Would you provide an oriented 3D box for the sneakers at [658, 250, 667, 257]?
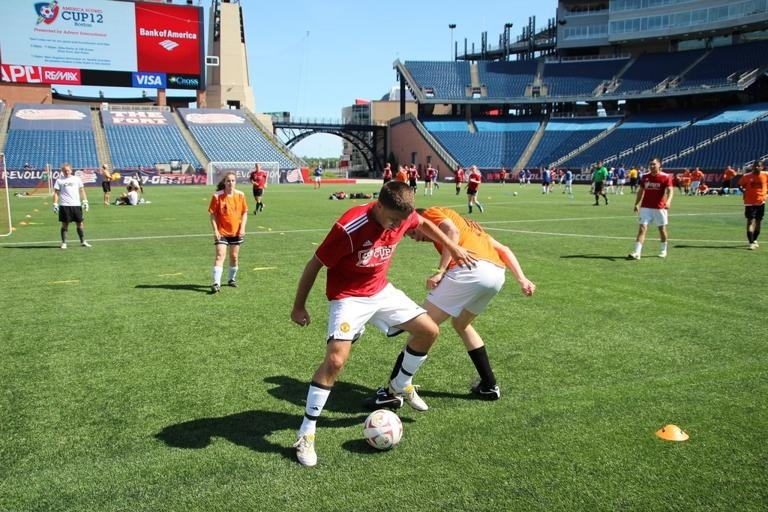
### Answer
[{"bbox_3d":[6.509,-0.051,13.033,0.116,0.146,0.347,-3,-1,30],"label":"sneakers"}]

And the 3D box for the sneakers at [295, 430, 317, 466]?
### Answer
[{"bbox_3d":[-0.769,1.853,5.431,0.218,0.305,0.246,-3,9,-9],"label":"sneakers"}]

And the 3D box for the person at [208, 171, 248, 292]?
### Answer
[{"bbox_3d":[-2.881,-0.465,10.181,0.554,2.092,1.004,1,9,16],"label":"person"}]

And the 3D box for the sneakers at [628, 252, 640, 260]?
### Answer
[{"bbox_3d":[5.728,-0.024,12.808,0.269,0.146,0.200,2,10,22],"label":"sneakers"}]

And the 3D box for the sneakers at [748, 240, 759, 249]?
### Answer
[{"bbox_3d":[9.419,-0.290,14.286,0.216,0.251,0.602,-3,0,37],"label":"sneakers"}]

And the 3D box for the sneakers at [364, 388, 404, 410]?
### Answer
[{"bbox_3d":[0.010,1.568,6.173,0.490,0.258,0.175,3,4,10],"label":"sneakers"}]

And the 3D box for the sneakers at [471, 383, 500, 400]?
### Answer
[{"bbox_3d":[1.158,1.540,6.368,0.295,0.130,0.142,12,9,24],"label":"sneakers"}]
